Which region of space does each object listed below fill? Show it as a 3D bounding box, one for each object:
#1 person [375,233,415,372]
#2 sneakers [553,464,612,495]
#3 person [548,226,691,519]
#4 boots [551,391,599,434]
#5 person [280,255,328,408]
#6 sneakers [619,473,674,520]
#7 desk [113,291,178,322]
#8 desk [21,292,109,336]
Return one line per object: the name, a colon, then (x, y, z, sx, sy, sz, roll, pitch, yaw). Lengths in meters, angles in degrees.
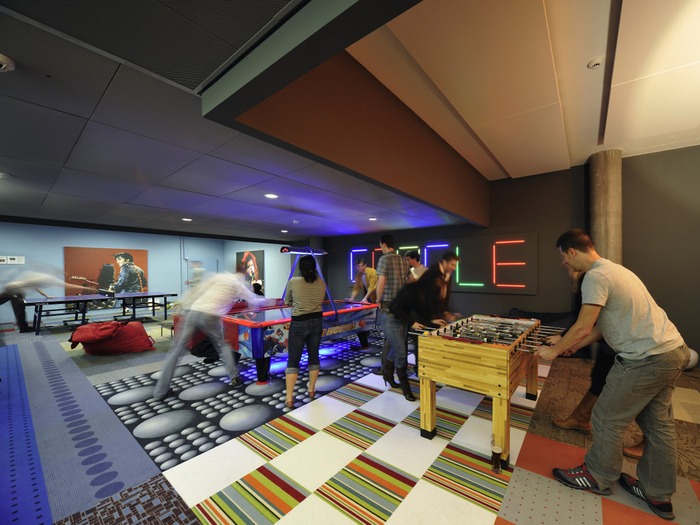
person: (0.506, 0.476, 4.540, 0.368, 1.623, 0.525, 0, 1, 8)
sneakers: (1.834, 1.750, 3.193, 0.434, 0.227, 0.174, 6, -6, 23)
person: (2.161, 0.830, 3.159, 0.892, 2.214, 0.494, 0, 1, 29)
boots: (2.161, 1.448, 3.840, 0.411, 0.375, 0.179, 15, 0, -2)
person: (-0.505, 0.748, 4.427, 0.514, 1.635, 0.293, -1, 1, -29)
sneakers: (2.288, 1.835, 3.099, 0.130, 0.163, 0.379, -18, 19, -6)
desk: (-4.871, 0.974, 9.384, 0.891, 0.517, 1.096, -4, -6, 31)
desk: (-5.868, 1.032, 8.186, 1.264, 0.724, 2.159, -1, 1, -39)
